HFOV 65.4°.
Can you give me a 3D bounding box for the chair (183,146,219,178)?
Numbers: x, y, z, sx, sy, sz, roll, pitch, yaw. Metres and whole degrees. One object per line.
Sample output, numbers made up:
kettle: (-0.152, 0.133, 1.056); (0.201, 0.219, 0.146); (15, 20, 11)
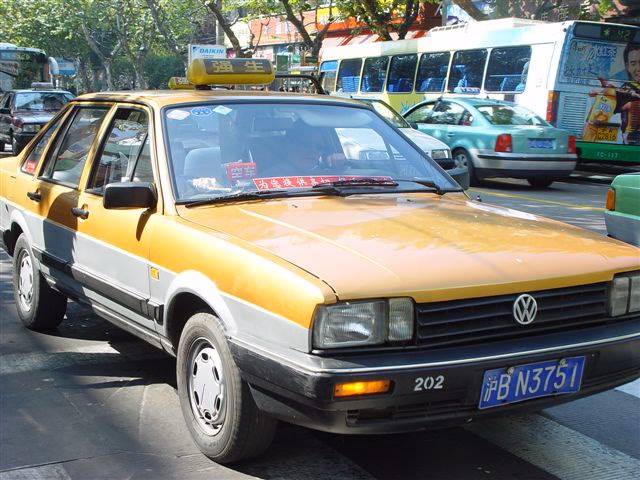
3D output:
chair: (-0.737, -0.478, 3.079); (0.230, 0.114, 0.201); (5, 58, -11)
